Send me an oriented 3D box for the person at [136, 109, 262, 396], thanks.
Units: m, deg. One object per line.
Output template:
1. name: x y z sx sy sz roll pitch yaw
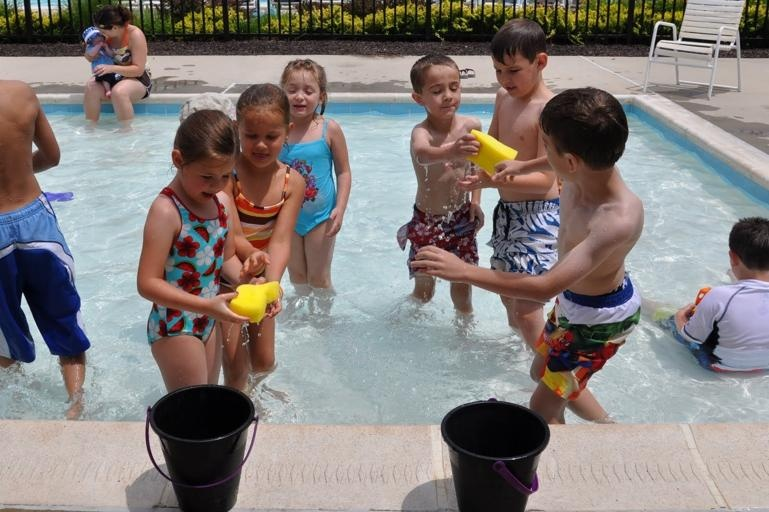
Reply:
1. person: -1.037 0.033 3.425 0.714 1.596 0.653 -19 30 -36

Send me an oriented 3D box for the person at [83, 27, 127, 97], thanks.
1. person: -4.216 -2.898 9.114 0.407 0.973 0.775 -12 27 -25

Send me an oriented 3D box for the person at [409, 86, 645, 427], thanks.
1. person: 0.959 0.109 3.467 1.011 1.973 0.581 -15 28 -30
